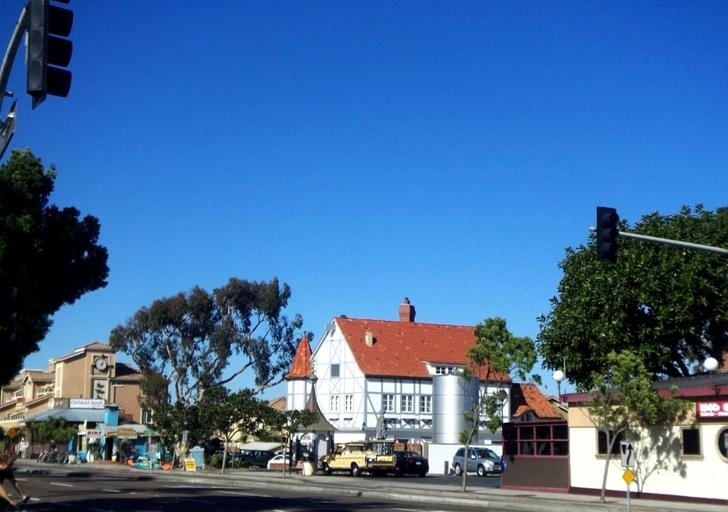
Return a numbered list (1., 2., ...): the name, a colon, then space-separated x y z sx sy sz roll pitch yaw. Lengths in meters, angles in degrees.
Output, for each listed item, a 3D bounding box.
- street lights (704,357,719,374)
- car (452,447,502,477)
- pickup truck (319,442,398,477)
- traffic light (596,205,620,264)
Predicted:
1. street lights: 16.721 5.105 43.034 0.555 0.818 2.061 -6 -17 23
2. car: 8.258 15.205 66.274 2.068 2.228 4.692 6 -17 -24
3. pickup truck: -0.018 14.511 64.350 2.561 2.265 4.385 9 -10 -41
4. traffic light: 8.027 -0.769 29.561 0.732 1.757 0.868 -12 -17 41
